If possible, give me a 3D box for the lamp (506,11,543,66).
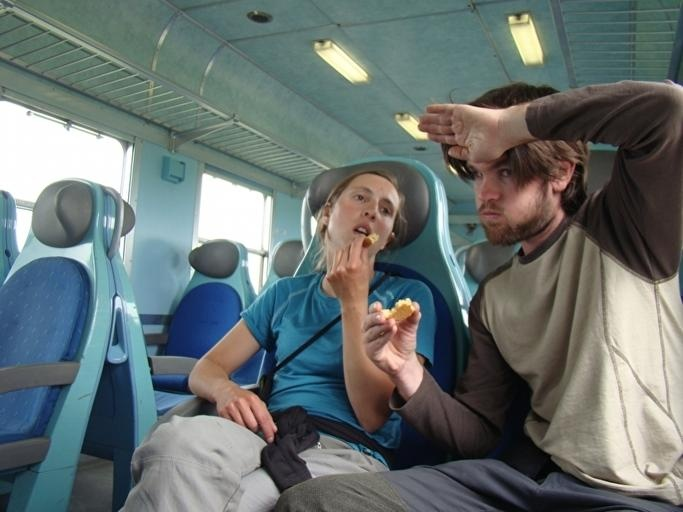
[{"bbox_3d":[2.005,-2.346,5.549,0.202,0.084,0.820,-2,-21,24],"label":"lamp"}]

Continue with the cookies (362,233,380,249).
[{"bbox_3d":[0.119,-0.073,2.107,0.020,0.062,0.066,32,-6,33],"label":"cookies"}]

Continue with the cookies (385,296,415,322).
[{"bbox_3d":[0.192,0.175,1.655,0.077,0.079,0.021,5,24,22],"label":"cookies"}]
